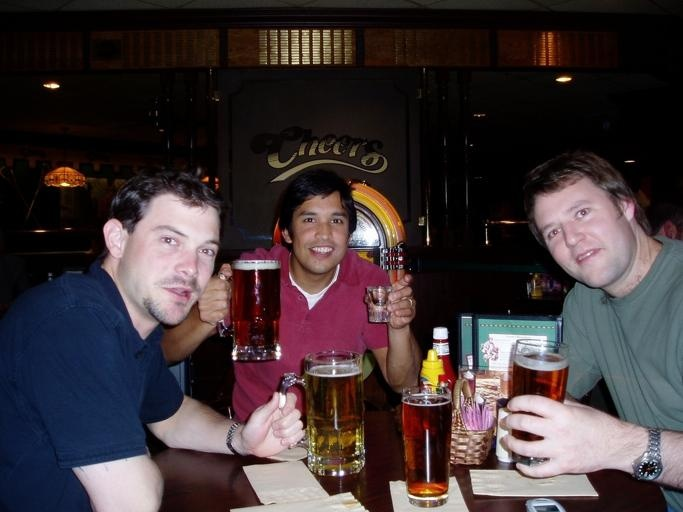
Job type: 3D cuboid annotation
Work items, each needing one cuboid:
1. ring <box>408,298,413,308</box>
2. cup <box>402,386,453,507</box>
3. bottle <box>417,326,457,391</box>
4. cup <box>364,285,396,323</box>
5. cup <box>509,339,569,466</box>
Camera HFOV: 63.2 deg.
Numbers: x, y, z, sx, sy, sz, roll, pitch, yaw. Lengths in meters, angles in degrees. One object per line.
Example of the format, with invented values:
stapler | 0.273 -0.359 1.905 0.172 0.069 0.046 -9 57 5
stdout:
ring | 0.347 0.227 2.745 0.009 0.040 0.040 -8 12 1
cup | 0.288 0.633 1.855 0.158 0.371 0.140 -1 1 8
bottle | 0.366 0.408 2.160 0.109 0.245 0.328 -1 0 19
cup | 0.192 0.236 2.732 0.122 0.169 0.090 -1 1 25
cup | 0.683 0.402 1.906 0.179 0.214 0.206 -1 0 15
